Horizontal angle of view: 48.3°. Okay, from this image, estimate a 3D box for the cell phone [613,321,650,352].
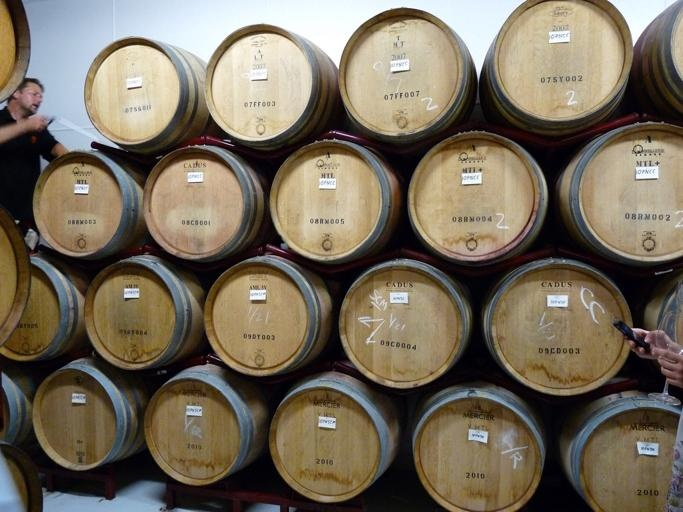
[{"bbox_3d":[1.805,0.509,4.758,0.046,0.073,0.300,-29,-54,25],"label":"cell phone"}]
